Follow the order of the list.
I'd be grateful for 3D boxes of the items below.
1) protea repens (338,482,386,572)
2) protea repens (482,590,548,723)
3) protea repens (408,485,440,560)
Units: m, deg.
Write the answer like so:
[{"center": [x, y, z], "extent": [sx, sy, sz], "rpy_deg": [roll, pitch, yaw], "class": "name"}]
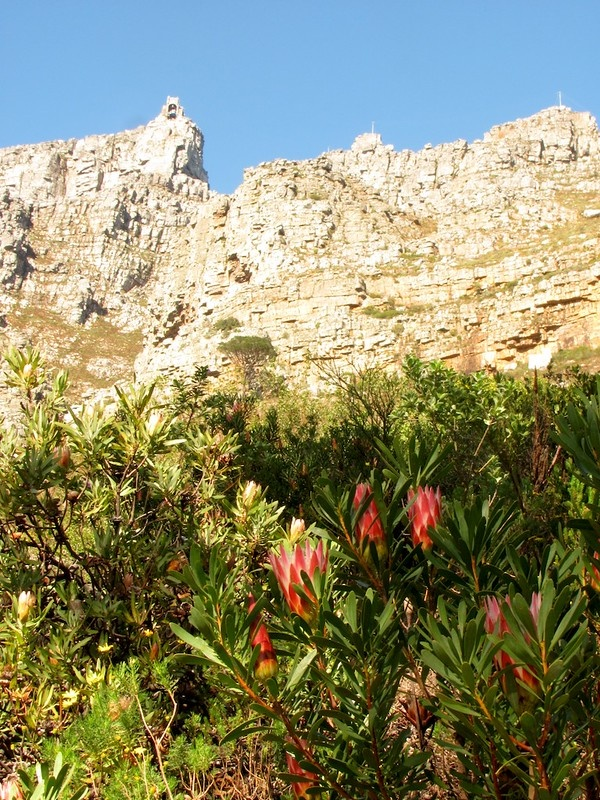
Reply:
[{"center": [0.126, 0.249, 1.854], "extent": [0.080, 0.155, 0.120], "rpy_deg": [-4, 1, 14], "class": "protea repens"}, {"center": [0.362, 0.424, 1.601], "extent": [0.097, 0.175, 0.190], "rpy_deg": [-5, 1, 11], "class": "protea repens"}, {"center": [0.249, 0.238, 1.928], "extent": [0.073, 0.117, 0.115], "rpy_deg": [-4, 1, 25], "class": "protea repens"}]
